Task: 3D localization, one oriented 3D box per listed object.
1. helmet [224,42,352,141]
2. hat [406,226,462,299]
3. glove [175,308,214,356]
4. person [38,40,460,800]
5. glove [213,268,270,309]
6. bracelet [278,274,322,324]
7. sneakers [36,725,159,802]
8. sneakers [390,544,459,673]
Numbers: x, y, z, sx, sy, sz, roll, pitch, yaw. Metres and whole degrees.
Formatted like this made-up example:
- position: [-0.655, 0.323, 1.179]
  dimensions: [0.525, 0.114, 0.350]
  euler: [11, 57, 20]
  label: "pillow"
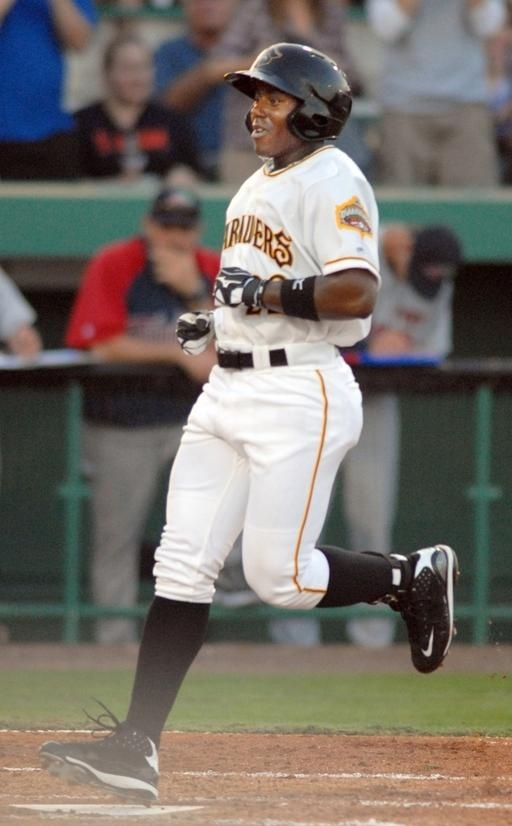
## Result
- position: [0.101, -0.713, 2.650]
  dimensions: [0.303, 0.207, 0.205]
  euler: [12, 4, -14]
  label: "helmet"
- position: [0.788, -0.671, 5.177]
  dimensions: [0.268, 0.298, 0.328]
  euler: [2, 24, 16]
  label: "hat"
- position: [-0.138, -0.191, 2.820]
  dimensions: [0.089, 0.105, 0.060]
  euler: [-13, -24, 42]
  label: "glove"
- position: [0.050, -0.015, 2.556]
  dimensions: [0.468, 1.618, 0.968]
  euler: [8, 10, 34]
  label: "person"
- position: [-0.038, -0.263, 2.450]
  dimensions: [0.114, 0.066, 0.054]
  euler: [22, 5, 41]
  label: "glove"
- position: [0.089, -0.236, 2.391]
  dimensions: [0.093, 0.067, 0.086]
  euler: [-8, -4, -17]
  label: "bracelet"
- position: [-0.321, 0.714, 2.412]
  dimensions: [0.280, 0.156, 0.089]
  euler: [24, -33, -24]
  label: "sneakers"
- position: [0.424, 0.474, 2.919]
  dimensions: [0.176, 0.344, 0.131]
  euler: [-4, -1, -34]
  label: "sneakers"
